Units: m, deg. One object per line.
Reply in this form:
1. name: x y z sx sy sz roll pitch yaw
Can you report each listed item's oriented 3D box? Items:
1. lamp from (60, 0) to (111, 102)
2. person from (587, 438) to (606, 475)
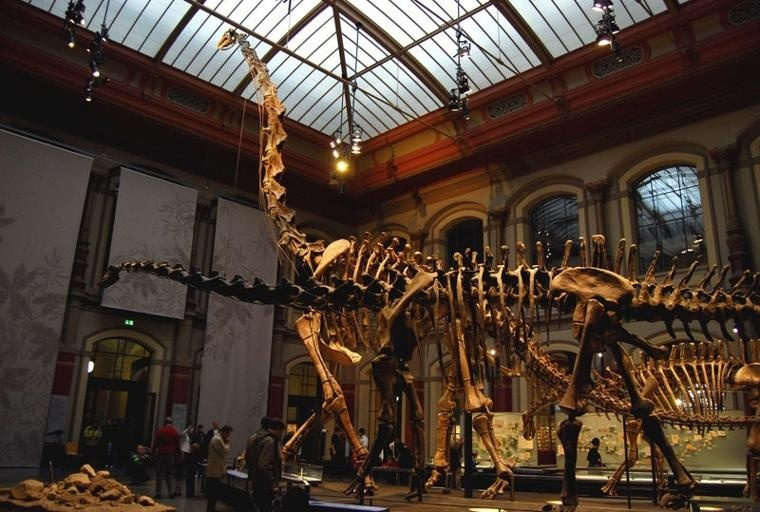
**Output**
1. lamp: -7.640 -5.348 14.920 0.835 2.638 1.341 -2 -16 -34
2. person: 4.985 4.581 13.443 0.326 0.685 1.066 -7 -19 18
